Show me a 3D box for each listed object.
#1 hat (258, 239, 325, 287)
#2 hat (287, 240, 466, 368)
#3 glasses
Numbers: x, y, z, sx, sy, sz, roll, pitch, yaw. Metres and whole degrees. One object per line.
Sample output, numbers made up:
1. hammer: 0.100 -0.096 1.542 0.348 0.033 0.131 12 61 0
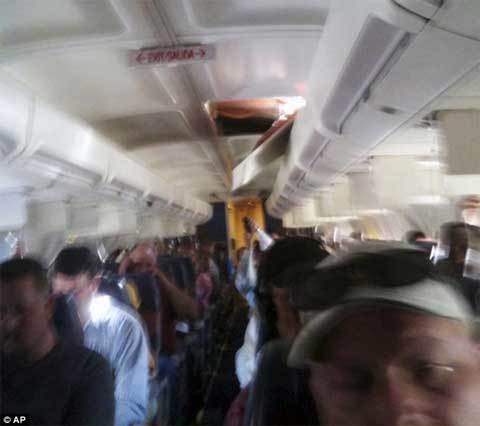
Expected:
1. hat: 0.174 0.160 1.240 0.211 0.172 0.189 -32 -8 10
2. hat: 0.377 0.270 1.028 0.515 0.303 0.263 -6 -37 36
3. glasses: 0.368 0.200 1.002 0.322 0.088 0.201 -15 -8 -3
